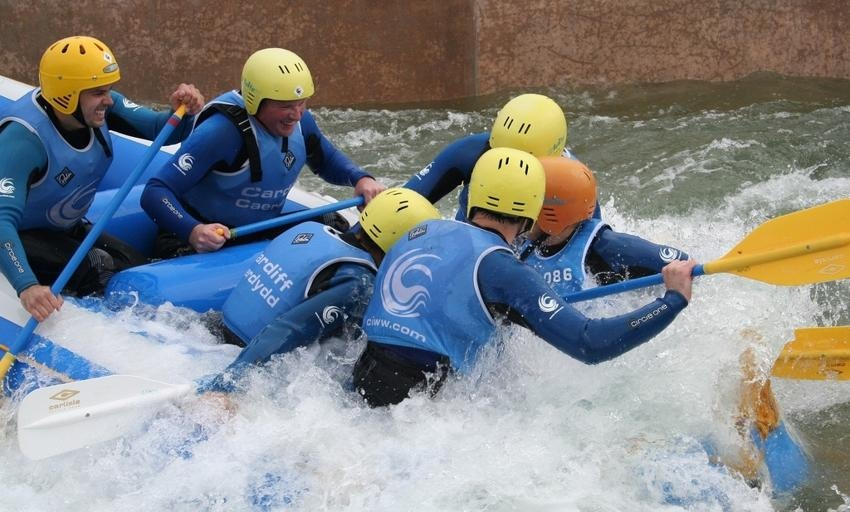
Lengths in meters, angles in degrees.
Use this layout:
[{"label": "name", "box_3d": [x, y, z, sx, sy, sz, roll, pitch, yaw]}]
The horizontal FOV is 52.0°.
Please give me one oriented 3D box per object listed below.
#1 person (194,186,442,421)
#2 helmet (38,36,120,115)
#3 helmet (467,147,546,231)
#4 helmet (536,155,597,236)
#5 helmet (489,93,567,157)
[{"label": "person", "box_3d": [-0.624, 0.346, 6.468, 1.456, 2.109, 0.764, -2, 44, -34]}, {"label": "helmet", "box_3d": [-2.428, -1.317, 6.297, 0.611, 0.499, 0.472, 8, 23, -1]}, {"label": "helmet", "box_3d": [0.559, -0.446, 5.693, 0.408, 0.472, 0.527, 13, 13, 0]}, {"label": "helmet", "box_3d": [0.982, -0.413, 6.312, 0.602, 0.491, 0.453, 6, 10, 28]}, {"label": "helmet", "box_3d": [0.831, -0.982, 6.664, 0.424, 0.522, 0.562, 31, 12, 20]}]
